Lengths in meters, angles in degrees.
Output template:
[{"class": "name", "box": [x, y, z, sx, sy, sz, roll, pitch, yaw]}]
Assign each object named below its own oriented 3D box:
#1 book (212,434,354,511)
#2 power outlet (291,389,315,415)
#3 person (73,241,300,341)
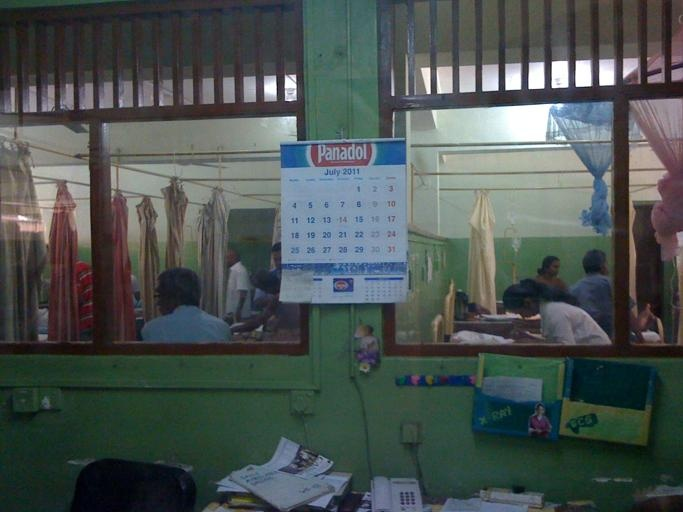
[{"class": "book", "box": [-0.303, 1.224, 5.608, 0.605, 0.348, 0.534, -2, -2, 27]}, {"class": "power outlet", "box": [-0.224, 0.849, 5.765, 0.140, 0.133, 0.027, -1, -2, 14]}, {"class": "person", "box": [-0.737, 0.187, 5.894, 1.012, 0.562, 0.176, -1, -2, 20]}]
